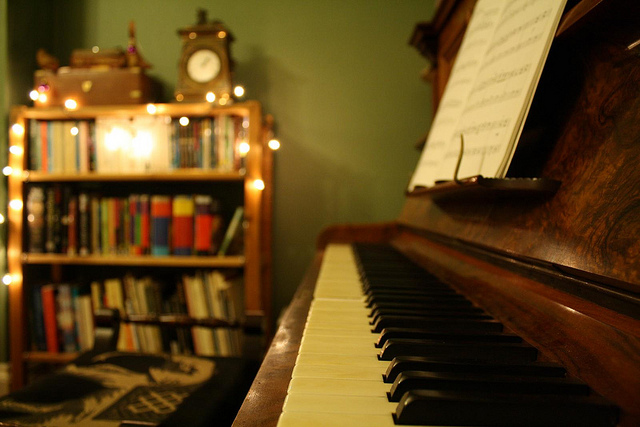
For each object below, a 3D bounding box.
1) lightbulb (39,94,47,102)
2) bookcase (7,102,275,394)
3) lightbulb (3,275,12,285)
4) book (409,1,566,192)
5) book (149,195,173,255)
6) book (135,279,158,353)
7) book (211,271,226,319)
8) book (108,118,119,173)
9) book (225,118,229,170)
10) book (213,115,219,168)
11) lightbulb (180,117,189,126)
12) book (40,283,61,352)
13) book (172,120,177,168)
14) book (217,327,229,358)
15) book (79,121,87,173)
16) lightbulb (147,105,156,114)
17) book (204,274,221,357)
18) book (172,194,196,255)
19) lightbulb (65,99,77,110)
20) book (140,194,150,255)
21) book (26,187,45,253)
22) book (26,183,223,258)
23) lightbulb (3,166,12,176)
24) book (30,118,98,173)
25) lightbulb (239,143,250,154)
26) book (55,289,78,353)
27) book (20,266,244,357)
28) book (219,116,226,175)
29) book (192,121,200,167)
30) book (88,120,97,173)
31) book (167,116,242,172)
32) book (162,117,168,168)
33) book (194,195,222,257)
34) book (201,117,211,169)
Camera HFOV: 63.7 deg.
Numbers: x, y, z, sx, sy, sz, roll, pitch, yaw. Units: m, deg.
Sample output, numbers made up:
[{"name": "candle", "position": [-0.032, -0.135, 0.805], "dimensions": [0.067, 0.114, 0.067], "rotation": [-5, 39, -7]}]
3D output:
[{"name": "lightbulb", "position": [-1.347, -0.564, 2.522], "dimensions": [0.032, 0.034, 0.015], "rotation": [2, -12, -21]}, {"name": "bookcase", "position": [-0.861, 0.152, 2.419], "dimensions": [1.265, 1.419, 0.459], "rotation": [0, 2, 3]}, {"name": "lightbulb", "position": [-1.504, 0.321, 2.491], "dimensions": [0.030, 0.044, 0.056], "rotation": [8, -16, -44]}, {"name": "book", "position": [0.426, -0.298, 1.317], "dimensions": [0.423, 0.444, 0.625], "rotation": [1, 9, 2]}, {"name": "book", "position": [-0.775, 0.061, 2.526], "dimensions": [0.115, 0.278, 0.070], "rotation": [-1, -11, -9]}, {"name": "book", "position": [-0.854, 0.501, 2.529], "dimensions": [0.071, 0.285, 0.296], "rotation": [-6, -2, -9]}, {"name": "book", "position": [-0.491, 0.392, 2.494], "dimensions": [0.043, 0.166, 0.170], "rotation": [-1, 0, -10]}, {"name": "book", "position": [-1.014, -0.316, 2.548], "dimensions": [0.078, 0.300, 0.023], "rotation": [5, 10, 6]}, {"name": "book", "position": [-0.448, -0.336, 2.498], "dimensions": [0.018, 0.244, 0.040], "rotation": [0, -11, -12]}, {"name": "book", "position": [-0.498, -0.351, 2.505], "dimensions": [0.021, 0.253, 0.051], "rotation": [0, -11, -13]}, {"name": "lightbulb", "position": [-0.655, -0.450, 2.518], "dimensions": [0.045, 0.044, 0.048], "rotation": [3, -12, -23]}, {"name": "book", "position": [-1.355, 0.561, 2.763], "dimensions": [0.136, 0.346, 0.390], "rotation": [-1, -9, -27]}, {"name": "book", "position": [-0.706, -0.340, 2.524], "dimensions": [0.021, 0.228, 0.040], "rotation": [0, -11, -12]}, {"name": "book", "position": [-0.472, 0.633, 2.526], "dimensions": [0.062, 0.099, 0.109], "rotation": [-8, -14, -9]}, {"name": "book", "position": [-1.177, -0.335, 2.575], "dimensions": [0.041, 0.284, 0.062], "rotation": [1, 19, -22]}, {"name": "lightbulb", "position": [-0.796, -0.496, 2.454], "dimensions": [0.035, 0.026, 0.032], "rotation": [-12, 24, -24]}, {"name": "book", "position": [-0.521, 0.487, 2.526], "dimensions": [0.043, 0.401, 0.043], "rotation": [-12, 4, 8]}, {"name": "book", "position": [-0.674, 0.062, 2.575], "dimensions": [0.121, 0.292, 0.097], "rotation": [-1, 4, -14]}, {"name": "lightbulb", "position": [-1.191, -0.530, 2.496], "dimensions": [0.031, 0.058, 0.054], "rotation": [-12, -15, 40]}, {"name": "book", "position": [-0.857, 0.060, 2.534], "dimensions": [0.045, 0.281, 0.049], "rotation": [-1, -11, -6]}, {"name": "book", "position": [-1.397, 0.034, 2.542], "dimensions": [0.084, 0.307, 0.066], "rotation": [0, -11, -10]}, {"name": "book", "position": [-1.051, 0.071, 2.705], "dimensions": [0.980, 0.310, 0.305], "rotation": [4, -8, -44]}, {"name": "lightbulb", "position": [-1.508, -0.207, 2.499], "dimensions": [0.032, 0.045, 0.061], "rotation": [7, -15, -40]}, {"name": "book", "position": [-1.267, -0.324, 2.554], "dimensions": [0.289, 0.256, 0.152], "rotation": [0, -6, -1]}, {"name": "lightbulb", "position": [-0.355, -0.309, 2.447], "dimensions": [0.050, 0.048, 0.026], "rotation": [26, 0, 0]}, {"name": "book", "position": [-1.265, 0.541, 2.575], "dimensions": [0.110, 0.277, 0.299], "rotation": [-5, -5, -9]}, {"name": "book", "position": [-0.878, 0.536, 2.747], "dimensions": [1.372, 0.448, 0.371], "rotation": [-4, -13, 13]}, {"name": "book", "position": [-0.471, -0.342, 2.503], "dimensions": [0.028, 0.259, 0.049], "rotation": [0, -11, -11]}, {"name": "book", "position": [-0.606, -0.334, 2.516], "dimensions": [0.021, 0.211, 0.046], "rotation": [1, -11, -17]}, {"name": "book", "position": [-1.121, -0.348, 2.579], "dimensions": [0.036, 0.251, 0.035], "rotation": [-11, -12, 29]}, {"name": "book", "position": [-0.567, -0.339, 2.603], "dimensions": [0.374, 0.303, 0.205], "rotation": [-1, 0, 1]}, {"name": "book", "position": [-0.754, -0.347, 2.525], "dimensions": [0.026, 0.236, 0.061], "rotation": [1, -11, -16]}, {"name": "book", "position": [-0.549, 0.066, 2.548], "dimensions": [0.132, 0.295, 0.087], "rotation": [1, -11, -16]}, {"name": "book", "position": [-0.552, -0.350, 2.515], "dimensions": [0.046, 0.266, 0.047], "rotation": [-1, -11, -10]}]
